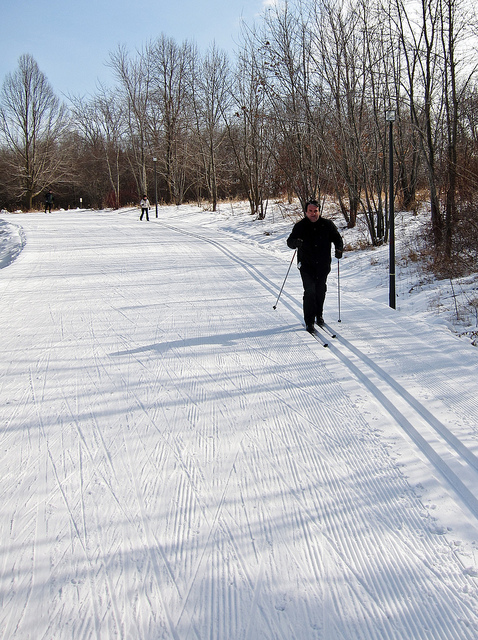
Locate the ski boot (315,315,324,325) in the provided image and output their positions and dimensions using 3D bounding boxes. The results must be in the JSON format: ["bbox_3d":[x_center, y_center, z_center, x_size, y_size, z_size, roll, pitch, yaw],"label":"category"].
[{"bbox_3d":[1.256,0.032,7.644,0.079,0.182,0.351,-2,0,4],"label":"ski boot"}]

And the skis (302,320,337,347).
[{"bbox_3d":[1.284,0.179,7.247,0.121,0.058,0.583,-16,29,-6],"label":"skis"}]

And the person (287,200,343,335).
[{"bbox_3d":[1.171,-0.825,7.528,0.784,1.925,1.016,2,9,16],"label":"person"}]
